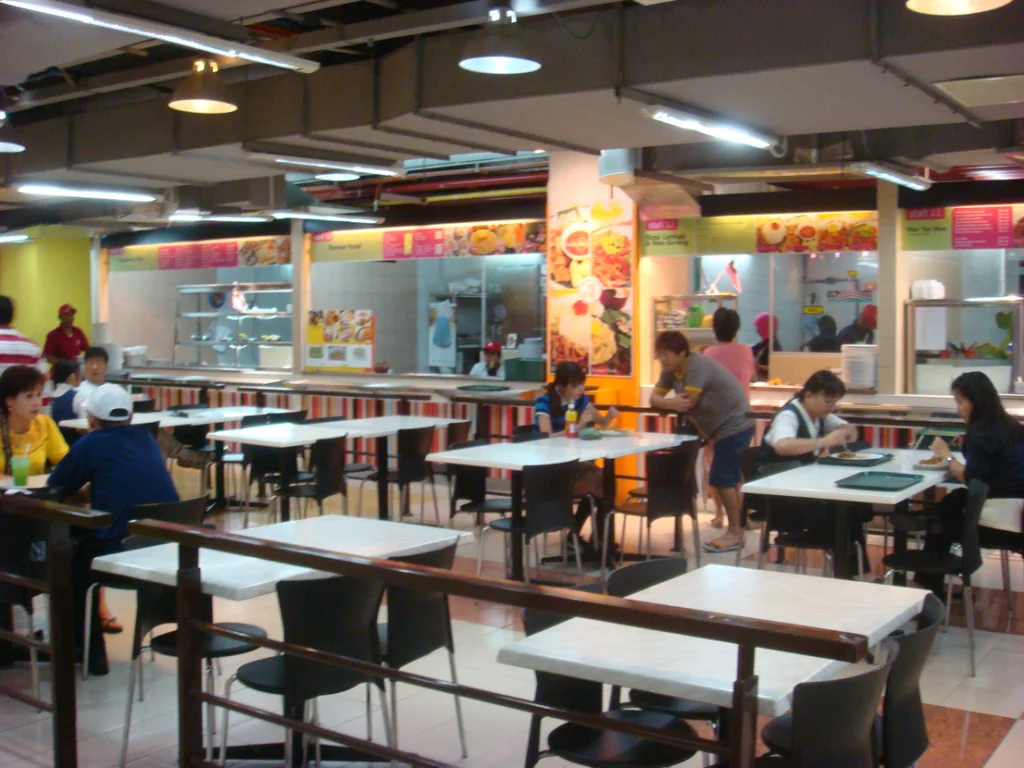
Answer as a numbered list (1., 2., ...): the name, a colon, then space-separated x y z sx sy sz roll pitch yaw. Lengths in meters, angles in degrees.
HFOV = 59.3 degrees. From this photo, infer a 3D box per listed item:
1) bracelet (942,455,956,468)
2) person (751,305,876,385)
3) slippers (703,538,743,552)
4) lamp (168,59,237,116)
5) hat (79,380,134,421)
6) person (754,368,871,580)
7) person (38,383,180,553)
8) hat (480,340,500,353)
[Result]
1. bracelet: 2.707 0.476 5.525 0.060 0.067 0.026 3 -16 16
2. person: 3.819 -0.546 11.032 1.367 0.689 1.245 0 0 -12
3. slippers: 1.756 1.344 7.458 0.386 0.079 0.177 5 -6 -34
4. lamp: -1.988 -1.908 5.639 0.356 0.367 0.356 -2 3 -31
5. hat: -2.318 0.109 5.082 0.230 0.138 0.345 -5 14 -38
6. person: 2.095 0.542 6.099 0.739 1.169 0.698 1 21 37
7. person: -2.307 0.601 5.125 0.770 1.076 0.598 9 15 32
8. hat: -0.258 -0.473 11.538 0.177 0.155 0.319 -1 2 -7
